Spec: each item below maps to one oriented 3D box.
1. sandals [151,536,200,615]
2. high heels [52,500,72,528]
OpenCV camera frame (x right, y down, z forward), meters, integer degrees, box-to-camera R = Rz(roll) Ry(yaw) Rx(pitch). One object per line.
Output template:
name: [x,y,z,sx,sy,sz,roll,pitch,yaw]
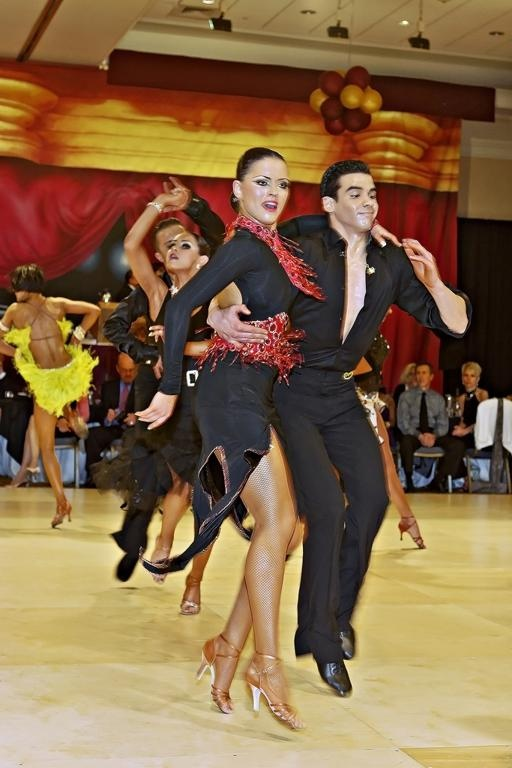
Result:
sandals: [-0.363,0.894,2.701,0.249,0.292,0.235,0,12,-6]
high heels: [-1.717,1.171,5.014,0.197,0.125,0.394,21,-40,-10]
